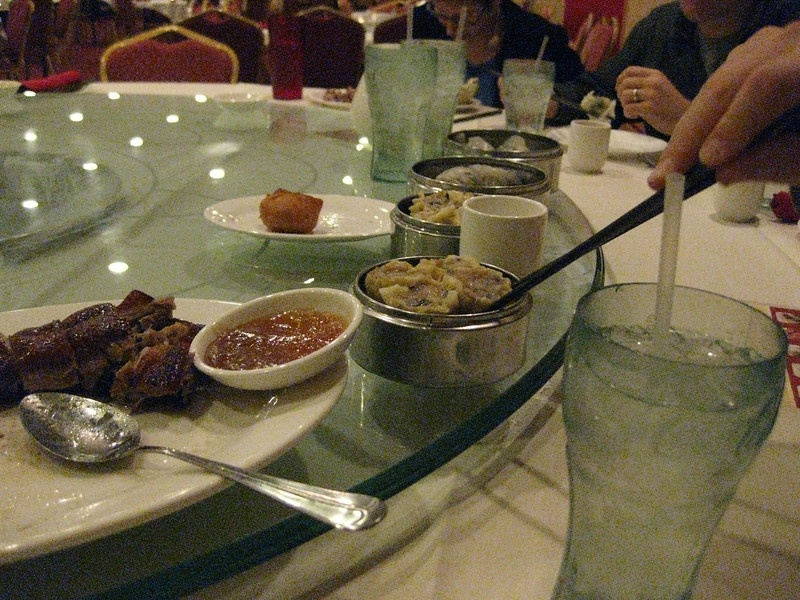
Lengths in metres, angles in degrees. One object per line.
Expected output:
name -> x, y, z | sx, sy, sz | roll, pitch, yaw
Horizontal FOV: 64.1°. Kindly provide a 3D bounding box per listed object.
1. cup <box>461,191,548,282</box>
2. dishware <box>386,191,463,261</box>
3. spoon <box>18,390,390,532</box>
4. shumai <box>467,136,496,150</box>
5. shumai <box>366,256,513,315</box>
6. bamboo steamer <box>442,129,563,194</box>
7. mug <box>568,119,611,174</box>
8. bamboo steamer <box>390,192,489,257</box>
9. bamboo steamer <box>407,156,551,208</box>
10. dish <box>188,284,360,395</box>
cup -> 0.150, -0.089, 0.957 | 0.135, 0.125, 0.125 | 2, 25, -1
dishware -> 0.049, -0.119, 0.976 | 0.099, 0.067, 0.095 | 0, 24, -1
spoon -> -0.193, 0.156, 0.606 | 0.327, 0.026, 0.063 | 14, 25, 6
shumai -> 0.173, -0.337, 1.367 | 0.050, 0.021, 0.061 | -3, 41, -3
shumai -> 0.043, -0.019, 0.793 | 0.121, 0.028, 0.095 | 6, 23, 11
bamboo steamer -> 0.225, -0.318, 1.332 | 0.216, 0.125, 0.206 | -9, 25, -23
mug -> 0.520, -0.441, 1.843 | 0.149, 0.155, 0.145 | 4, 24, 16
bamboo steamer -> 0.033, -0.126, 0.980 | 0.099, 0.068, 0.095 | 0, 25, 0
bamboo steamer -> 0.141, -0.211, 1.100 | 0.152, 0.053, 0.144 | 0, 19, -2
dish -> -0.137, 0.042, 0.733 | 0.141, 0.036, 0.126 | -15, 28, -1
